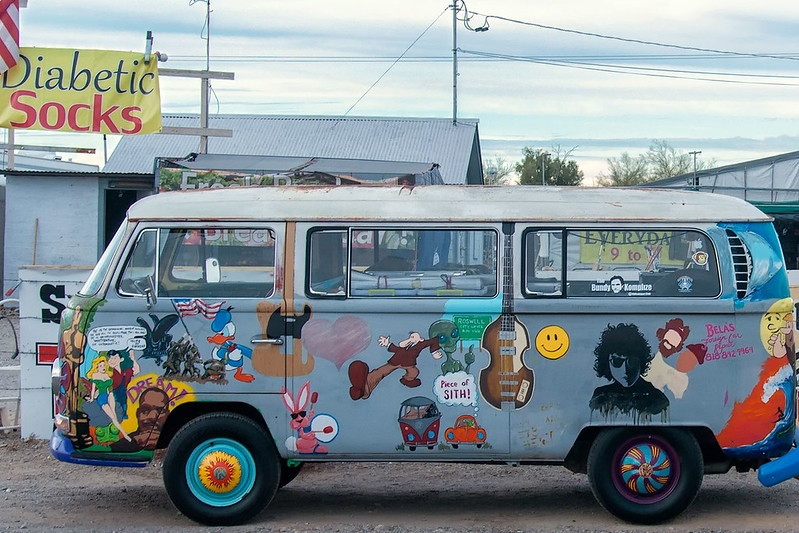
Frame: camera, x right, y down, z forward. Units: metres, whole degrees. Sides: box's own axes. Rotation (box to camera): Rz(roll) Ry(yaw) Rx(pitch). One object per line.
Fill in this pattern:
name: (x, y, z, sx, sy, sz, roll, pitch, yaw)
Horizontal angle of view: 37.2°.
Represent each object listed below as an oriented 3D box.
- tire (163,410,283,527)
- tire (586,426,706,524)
tire: (-1.918, 2.194, 13.063, 1.446, 1.251, 0.481, 1, 5, 1)
tire: (2.739, 2.265, 13.079, 1.230, 1.066, 0.415, 2, 5, 0)
